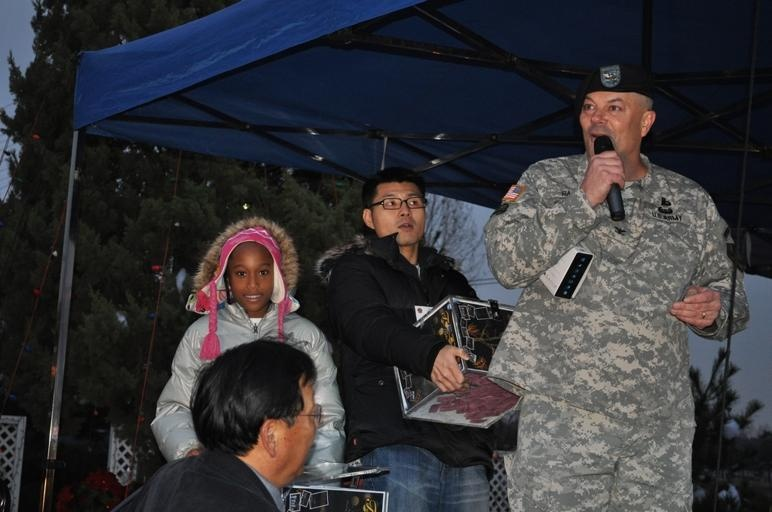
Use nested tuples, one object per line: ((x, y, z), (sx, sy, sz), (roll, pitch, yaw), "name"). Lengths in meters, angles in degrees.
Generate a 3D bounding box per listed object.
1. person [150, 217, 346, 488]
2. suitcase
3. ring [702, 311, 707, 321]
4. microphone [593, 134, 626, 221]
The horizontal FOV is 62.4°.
((-0.910, 0.559, 4.238), (1.213, 1.667, 1.094), (0, 3, -19), "person")
((0.457, 0.588, 3.542), (0.447, 0.696, 0.705), (-16, 3, -37), "suitcase")
((1.538, 0.294, 3.068), (0.025, 0.037, 0.034), (-2, 0, 5), "ring")
((1.107, -0.385, 3.160), (0.126, 0.479, 0.215), (-3, -19, 19), "microphone")
